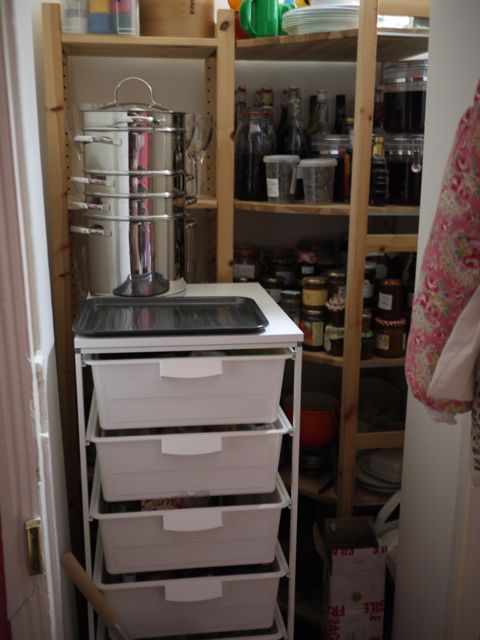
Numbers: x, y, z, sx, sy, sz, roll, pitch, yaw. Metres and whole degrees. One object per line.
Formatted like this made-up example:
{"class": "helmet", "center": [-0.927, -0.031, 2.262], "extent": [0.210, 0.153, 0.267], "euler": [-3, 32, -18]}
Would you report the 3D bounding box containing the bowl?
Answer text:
{"class": "bowl", "center": [0.247, 0.311, 1.741], "extent": [0.152, 0.141, 0.174], "euler": [0, 6, -1]}
